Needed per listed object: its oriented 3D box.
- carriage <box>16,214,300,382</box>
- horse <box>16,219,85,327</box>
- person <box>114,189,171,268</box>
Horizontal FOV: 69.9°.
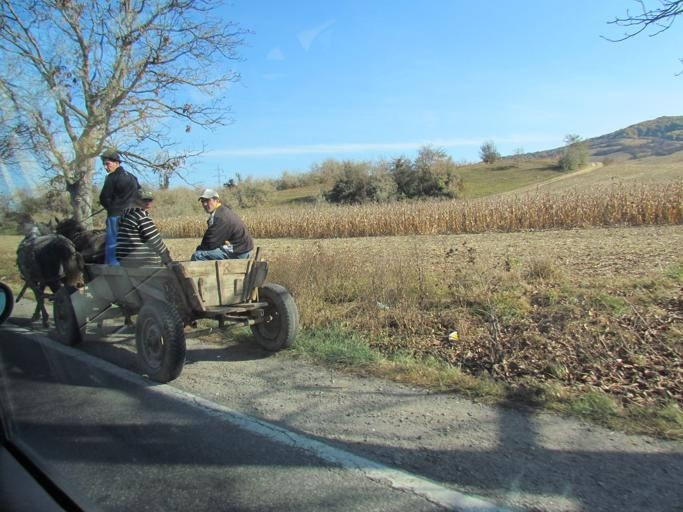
[{"bbox_3d":[-2.604,0.551,7.243,3.313,1.552,1.939,-1,0,38],"label":"carriage"},{"bbox_3d":[-4.006,0.034,7.124,0.462,0.991,1.639,-6,22,-40],"label":"horse"},{"bbox_3d":[-2.595,-0.245,6.478,0.665,0.752,0.550,-5,13,-21],"label":"person"}]
